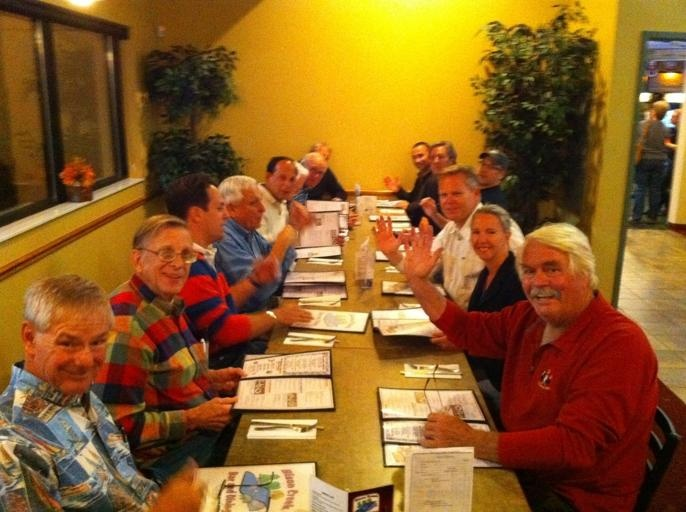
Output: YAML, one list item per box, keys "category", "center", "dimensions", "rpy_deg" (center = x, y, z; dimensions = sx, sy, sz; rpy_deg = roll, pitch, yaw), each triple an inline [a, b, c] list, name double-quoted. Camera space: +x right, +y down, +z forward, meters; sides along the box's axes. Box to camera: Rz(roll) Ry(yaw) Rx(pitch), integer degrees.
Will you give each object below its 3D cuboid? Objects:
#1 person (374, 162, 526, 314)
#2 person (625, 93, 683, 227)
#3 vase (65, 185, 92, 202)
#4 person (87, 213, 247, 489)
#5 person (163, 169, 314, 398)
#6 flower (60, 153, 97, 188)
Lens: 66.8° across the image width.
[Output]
- category: "person"
  center: [0.857, 0.087, 3.619]
  dimensions: [0.956, 1.299, 0.663]
  rpy_deg: [-10, -16, 39]
- category: "person"
  center: [4.870, -1.463, 8.126]
  dimensions: [0.505, 1.898, 0.829]
  rpy_deg: [6, 16, 28]
- category: "vase"
  center: [-2.357, -0.551, 4.606]
  dimensions: [0.169, 0.105, 0.155]
  rpy_deg: [2, 13, 1]
- category: "person"
  center: [-0.702, 0.409, 2.181]
  dimensions: [0.604, 1.304, 0.621]
  rpy_deg: [-3, 31, -3]
- category: "person"
  center: [-0.625, 0.207, 3.067]
  dimensions: [0.875, 1.302, 0.716]
  rpy_deg: [-5, 24, -22]
- category: "flower"
  center: [-2.308, -0.763, 4.618]
  dimensions: [0.333, 0.273, 0.303]
  rpy_deg: [1, 14, -3]
